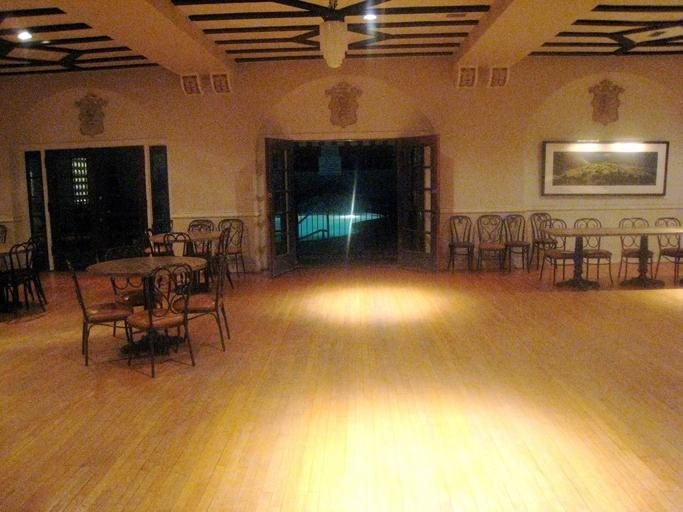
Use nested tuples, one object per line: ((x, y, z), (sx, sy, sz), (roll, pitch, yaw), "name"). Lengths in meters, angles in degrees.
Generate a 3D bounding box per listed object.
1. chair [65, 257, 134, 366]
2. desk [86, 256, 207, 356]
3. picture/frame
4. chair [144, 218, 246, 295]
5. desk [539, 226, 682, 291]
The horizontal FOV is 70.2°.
((-2.341, 0.569, 4.804), (0.589, 0.864, 0.516), (-1, 6, -35), "chair")
((-1.863, 0.383, 4.753), (1.076, 0.786, 1.054), (-17, -15, 5), "desk")
((4.754, -1.596, 8.760), (2.074, 0.993, 0.039), (0, 1, 7), "picture/frame")
((-2.286, -0.139, 7.677), (1.368, 0.871, 1.354), (0, 8, -1), "chair")
((3.995, -0.018, 7.281), (1.730, 0.882, 1.824), (3, 9, 22), "desk")
